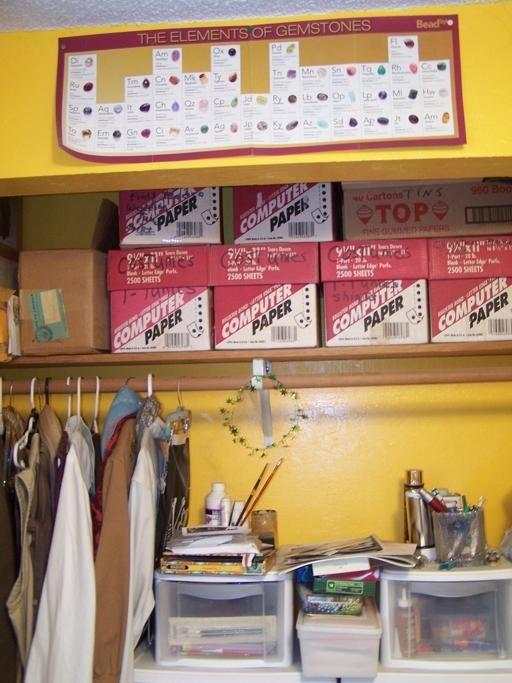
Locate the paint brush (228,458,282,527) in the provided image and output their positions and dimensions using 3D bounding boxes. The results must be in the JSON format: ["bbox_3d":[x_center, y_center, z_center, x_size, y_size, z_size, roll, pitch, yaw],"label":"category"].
[{"bbox_3d":[0.006,0.441,2.011,0.013,0.065,0.291,-12,35,41],"label":"paint brush"}]

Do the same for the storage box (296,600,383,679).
[{"bbox_3d":[0.189,0.681,1.567,0.158,0.095,0.157,-2,-5,5],"label":"storage box"}]

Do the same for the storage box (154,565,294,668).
[{"bbox_3d":[-0.085,0.677,1.626,0.255,0.162,0.255,-2,-12,7],"label":"storage box"}]

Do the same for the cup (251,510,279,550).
[{"bbox_3d":[0.026,0.518,1.851,0.092,0.139,0.090,-1,-15,0],"label":"cup"}]
